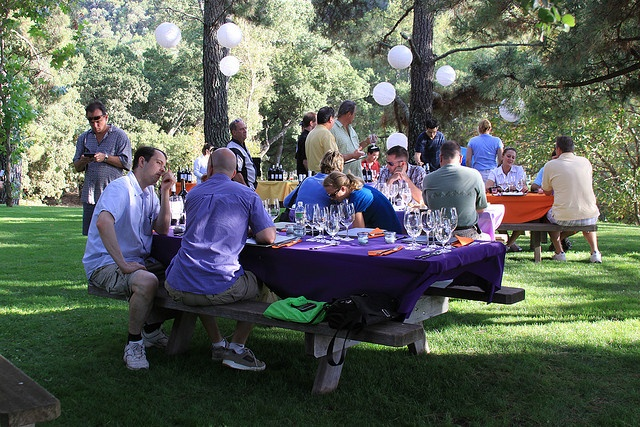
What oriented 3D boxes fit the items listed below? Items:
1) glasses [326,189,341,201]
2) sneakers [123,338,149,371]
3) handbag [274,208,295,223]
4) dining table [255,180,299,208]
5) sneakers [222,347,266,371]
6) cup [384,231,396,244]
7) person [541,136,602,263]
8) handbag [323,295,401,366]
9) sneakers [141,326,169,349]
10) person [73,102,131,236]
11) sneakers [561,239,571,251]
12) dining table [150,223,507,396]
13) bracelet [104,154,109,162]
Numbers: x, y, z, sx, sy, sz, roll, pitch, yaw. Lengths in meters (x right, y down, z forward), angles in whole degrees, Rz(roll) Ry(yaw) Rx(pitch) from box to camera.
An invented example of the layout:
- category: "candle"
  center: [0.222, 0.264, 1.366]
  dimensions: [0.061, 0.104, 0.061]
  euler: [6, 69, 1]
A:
- category: "glasses"
  center: [0.137, -0.184, 5.231]
  dimensions: [0.098, 0.030, 0.094]
  euler: [-32, 8, -35]
- category: "sneakers"
  center: [-1.676, 1.256, 4.689]
  dimensions: [0.200, 0.196, 0.431]
  euler: [8, 8, -34]
- category: "handbag"
  center: [-0.430, 0.029, 6.258]
  dimensions: [0.173, 0.165, 0.292]
  euler: [12, 5, 2]
- category: "dining table"
  center: [-1.091, -0.579, 12.815]
  dimensions: [0.839, 0.330, 0.858]
  euler: [2, 7, 19]
- category: "sneakers"
  center: [-0.671, 1.297, 4.636]
  dimensions: [0.410, 0.199, 0.164]
  euler: [9, -4, -16]
- category: "cup"
  center: [0.627, 0.214, 4.620]
  dimensions: [0.089, 0.078, 0.101]
  euler: [4, 7, 8]
- category: "person"
  center: [3.892, -0.203, 8.000]
  dimensions: [0.845, 2.026, 0.902]
  euler: [-6, 7, -26]
- category: "handbag"
  center: [0.343, 0.774, 4.059]
  dimensions: [0.533, 0.214, 0.510]
  euler: [8, 15, 42]
- category: "sneakers"
  center: [-1.562, 1.229, 5.082]
  dimensions: [0.356, 0.185, 0.128]
  euler: [4, 5, -10]
- category: "person"
  center: [-2.851, -0.372, 6.658]
  dimensions: [0.735, 2.060, 0.663]
  euler: [2, 5, 2]
- category: "sneakers"
  center: [4.255, 0.546, 9.003]
  dimensions: [0.134, 0.181, 0.404]
  euler: [1, 4, 31]
- category: "dining table"
  center: [0.057, 0.844, 4.481]
  dimensions: [2.938, 1.169, 1.007]
  euler: [3, 13, 14]
- category: "bracelet"
  center: [-2.696, -0.696, 6.508]
  dimensions: [0.050, 0.072, 0.076]
  euler: [15, -1, 5]
